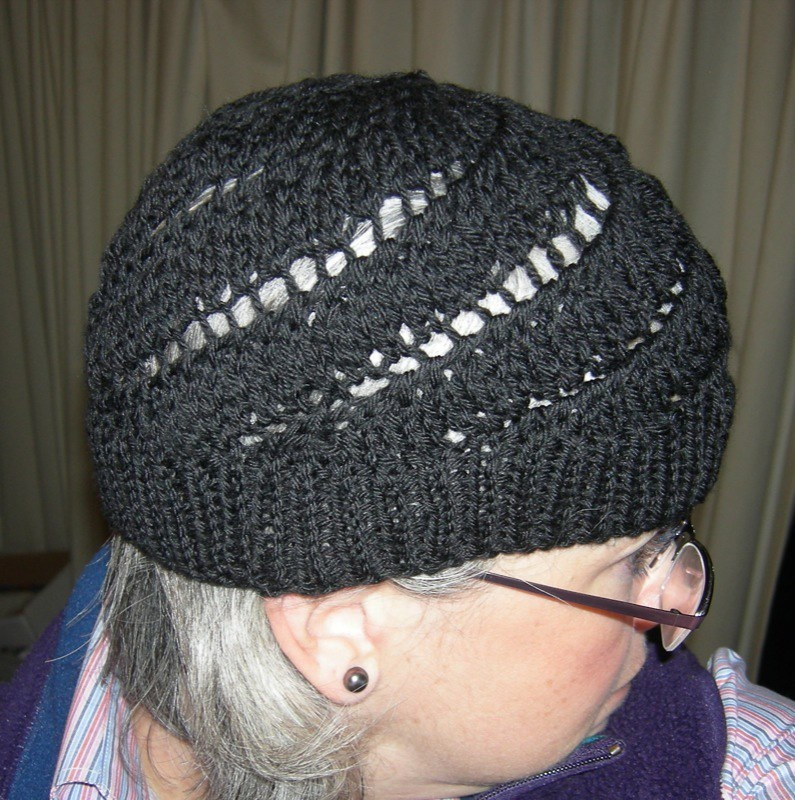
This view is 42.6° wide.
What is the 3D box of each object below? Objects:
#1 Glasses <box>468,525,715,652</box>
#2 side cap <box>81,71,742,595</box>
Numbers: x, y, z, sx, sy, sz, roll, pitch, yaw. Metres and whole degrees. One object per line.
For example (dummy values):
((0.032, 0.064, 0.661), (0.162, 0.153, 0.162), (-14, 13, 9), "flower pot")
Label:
((0.331, 0.307, 1.648), (0.330, 0.085, 0.271), (3, 14, 14), "Glasses")
((-0.103, -0.105, 1.600), (0.978, 0.506, 0.871), (15, 30, 29), "side cap")
